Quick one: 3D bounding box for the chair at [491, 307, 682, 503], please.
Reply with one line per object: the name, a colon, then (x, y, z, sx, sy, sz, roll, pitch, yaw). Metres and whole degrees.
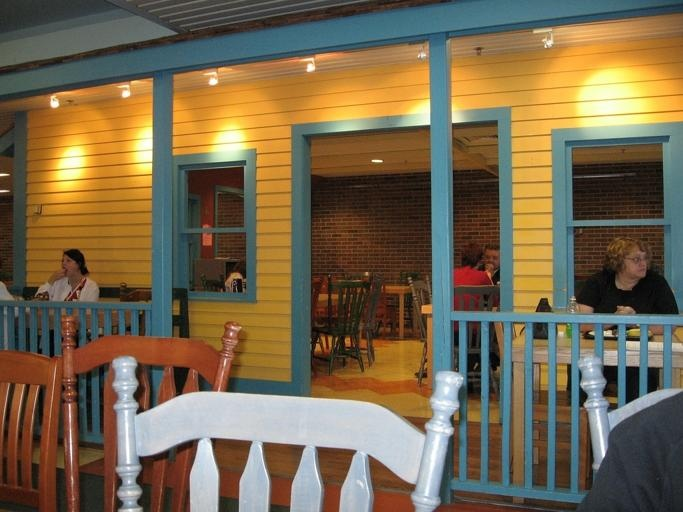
chair: (1.562, 0.754, 4.260, 1.160, 1.111, 1.162, -1, 3, 5)

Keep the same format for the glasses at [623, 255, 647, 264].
glasses: (2.108, 0.020, 4.741, 0.138, 0.048, 0.046, 1, -2, 19)
